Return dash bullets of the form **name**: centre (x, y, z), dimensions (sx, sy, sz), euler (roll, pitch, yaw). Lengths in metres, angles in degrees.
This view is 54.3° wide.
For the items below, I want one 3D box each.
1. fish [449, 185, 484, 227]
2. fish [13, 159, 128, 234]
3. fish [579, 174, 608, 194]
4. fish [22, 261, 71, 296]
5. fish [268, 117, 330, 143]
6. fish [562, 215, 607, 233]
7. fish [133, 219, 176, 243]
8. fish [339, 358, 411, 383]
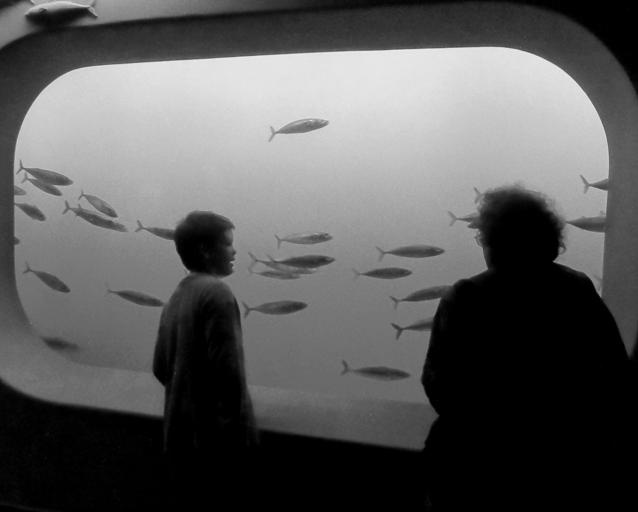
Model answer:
- **fish**: centre (1.053, -0.374, 4.474), dimensions (0.142, 0.336, 0.125), euler (38, 11, -16)
- **fish**: centre (-1.819, -0.416, 4.519), dimensions (0.910, 0.184, 0.165), euler (31, 22, 19)
- **fish**: centre (1.590, -0.418, 3.602), dimensions (0.141, 0.172, 0.059), euler (5, 1, 27)
- **fish**: centre (-1.891, 0.157, 4.378), dimensions (0.066, 0.102, 0.260), euler (-29, -43, 24)
- **fish**: centre (-0.155, -0.841, 4.059), dimensions (0.276, 0.114, 0.485), euler (2, 4, -38)
- **fish**: centre (1.445, -0.177, 3.381), dimensions (0.061, 0.084, 0.228), euler (-21, 12, -14)
- **fish**: centre (-1.184, -0.181, 4.489), dimensions (0.265, 0.102, 0.097), euler (19, 3, 31)
- **fish**: centre (0.362, 0.747, 3.968), dimensions (0.439, 0.122, 0.408), euler (5, 3, 9)
